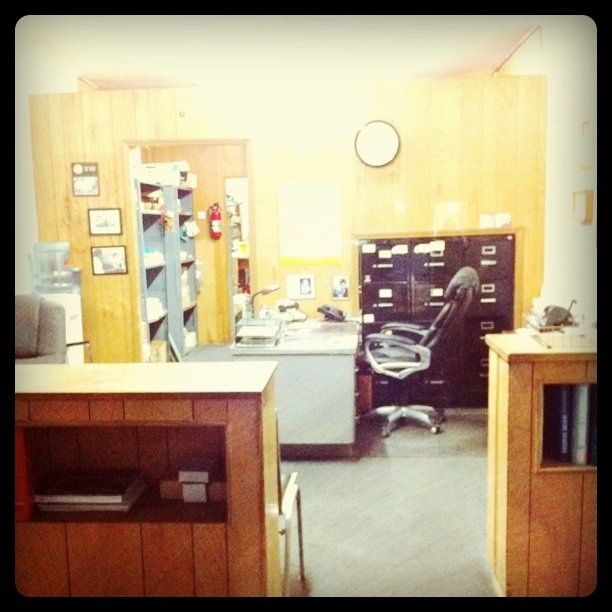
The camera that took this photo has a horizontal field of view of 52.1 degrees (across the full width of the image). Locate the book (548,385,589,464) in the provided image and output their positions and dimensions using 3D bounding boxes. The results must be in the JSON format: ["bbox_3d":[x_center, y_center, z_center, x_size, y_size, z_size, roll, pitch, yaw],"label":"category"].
[{"bbox_3d":[0.949,0.416,2.246,0.124,0.260,0.245,0,5,15],"label":"book"}]

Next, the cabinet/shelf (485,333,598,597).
[{"bbox_3d":[0.870,0.575,2.259,0.285,0.993,0.889,0,1,12],"label":"cabinet/shelf"}]

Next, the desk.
[{"bbox_3d":[-0.023,0.410,3.672,0.548,0.549,0.818,-1,10,0],"label":"desk"}]

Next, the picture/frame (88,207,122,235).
[{"bbox_3d":[-1.227,-0.516,3.757,0.135,0.144,0.020,0,4,-6],"label":"picture/frame"}]

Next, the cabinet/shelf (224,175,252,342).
[{"bbox_3d":[-0.639,-0.500,5.863,0.223,1.414,0.903,-4,14,-6],"label":"cabinet/shelf"}]

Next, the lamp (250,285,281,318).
[{"bbox_3d":[-0.257,-0.056,3.999,0.194,0.310,0.137,-4,17,-5],"label":"lamp"}]

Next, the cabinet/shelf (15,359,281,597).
[{"bbox_3d":[-0.517,0.569,2.017,0.615,0.698,0.282,-1,3,-1],"label":"cabinet/shelf"}]
